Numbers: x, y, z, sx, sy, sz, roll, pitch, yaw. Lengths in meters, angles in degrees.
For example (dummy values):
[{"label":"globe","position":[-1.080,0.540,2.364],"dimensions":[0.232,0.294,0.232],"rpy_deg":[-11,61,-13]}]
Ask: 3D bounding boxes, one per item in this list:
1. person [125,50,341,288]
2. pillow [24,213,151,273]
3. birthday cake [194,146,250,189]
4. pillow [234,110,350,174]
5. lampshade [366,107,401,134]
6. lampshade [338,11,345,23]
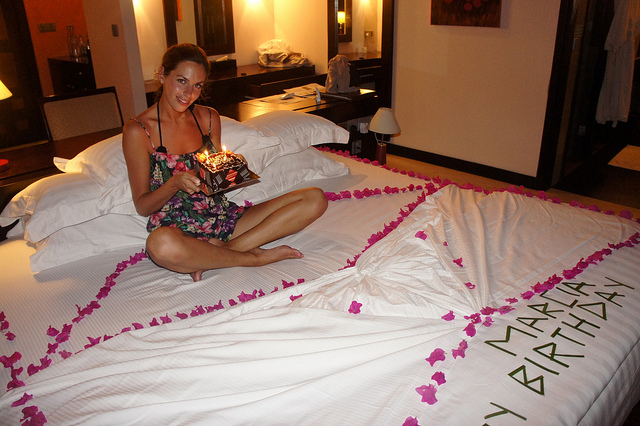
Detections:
[{"label":"person","position":[-0.537,-0.245,1.965],"dimensions":[0.986,1.091,0.987],"rpy_deg":[8,21,19]},{"label":"pillow","position":[-1.185,0.129,2.044],"dimensions":[0.442,0.076,0.380],"rpy_deg":[-18,44,-21]},{"label":"birthday cake","position":[-0.467,-0.210,1.961],"dimensions":[0.333,0.193,0.266],"rpy_deg":[-8,27,-29]},{"label":"pillow","position":[-0.206,-0.479,2.683],"dimensions":[0.771,0.347,0.611],"rpy_deg":[-12,31,-36]},{"label":"lampshade","position":[0.561,-0.801,3.449],"dimensions":[0.241,0.202,0.243],"rpy_deg":[-26,40,-38]},{"label":"lampshade","position":[0.259,-2.404,4.796],"dimensions":[0.103,0.124,0.026],"rpy_deg":[-24,35,-38]}]
